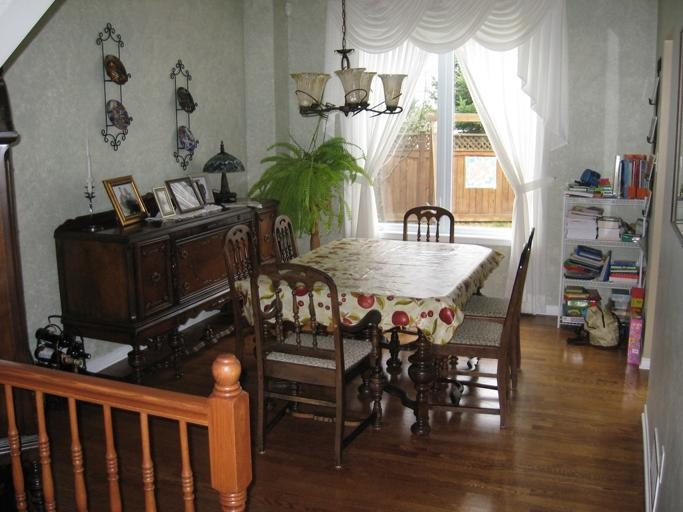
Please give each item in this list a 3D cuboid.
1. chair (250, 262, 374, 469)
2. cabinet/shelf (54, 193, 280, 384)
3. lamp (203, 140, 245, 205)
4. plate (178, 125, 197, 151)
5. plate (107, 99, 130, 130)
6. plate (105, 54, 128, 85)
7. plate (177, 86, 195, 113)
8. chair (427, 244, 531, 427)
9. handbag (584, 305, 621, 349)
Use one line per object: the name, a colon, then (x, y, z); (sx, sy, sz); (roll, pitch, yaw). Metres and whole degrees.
chair: (-0.103, 0.513, 3.369); (0.670, 1.100, 0.669); (1, 11, 9)
cabinet/shelf: (-1.210, 0.190, 4.586); (0.617, 1.149, 1.844); (7, 15, 21)
lamp: (-0.993, -0.686, 4.959); (0.327, 0.463, 0.339); (5, 14, 26)
plate: (-1.293, -0.996, 4.938); (0.081, 0.212, 0.255); (1, 12, 11)
plate: (-1.620, -1.029, 4.277); (0.068, 0.229, 0.225); (1, 12, 15)
plate: (-1.616, -1.349, 4.224); (0.068, 0.203, 0.218); (3, 12, 23)
plate: (-1.297, -1.308, 4.878); (0.072, 0.195, 0.200); (1, 12, 11)
chair: (0.823, 0.464, 3.726); (0.640, 1.081, 0.647); (4, 5, 13)
handbag: (2.114, 0.561, 4.672); (0.349, 0.352, 0.191); (0, -6, -31)
